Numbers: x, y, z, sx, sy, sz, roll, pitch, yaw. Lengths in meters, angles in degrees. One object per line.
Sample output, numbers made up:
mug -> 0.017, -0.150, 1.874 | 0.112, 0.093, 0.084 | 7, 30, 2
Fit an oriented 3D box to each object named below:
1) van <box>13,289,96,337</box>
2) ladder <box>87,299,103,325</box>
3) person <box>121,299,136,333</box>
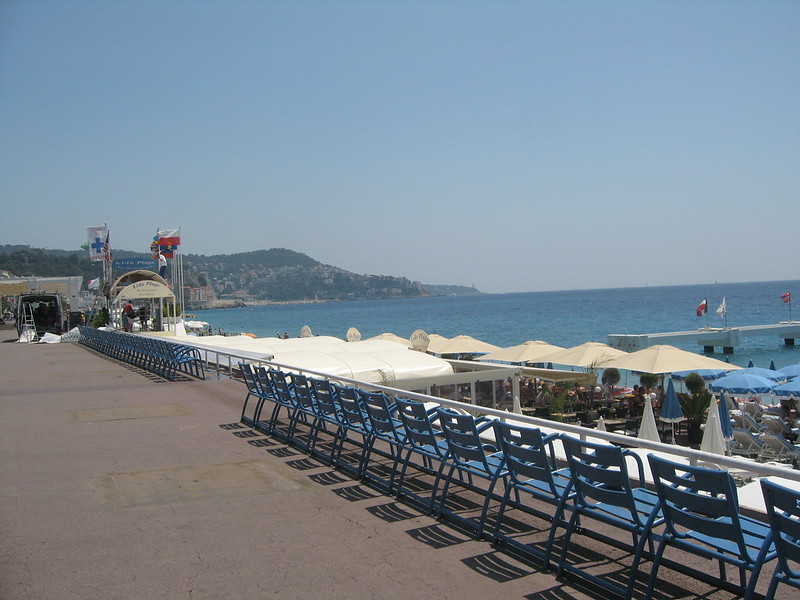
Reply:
van -> -24.327, 0.946, 42.397 | 3.645, 3.202, 5.880 | -1, 6, -17
ladder -> -23.290, 0.915, 46.062 | 0.416, 1.437, 3.727 | 2, -29, -16
person -> -15.291, 0.943, 33.885 | 0.563, 1.703, 0.722 | -4, -11, 12
